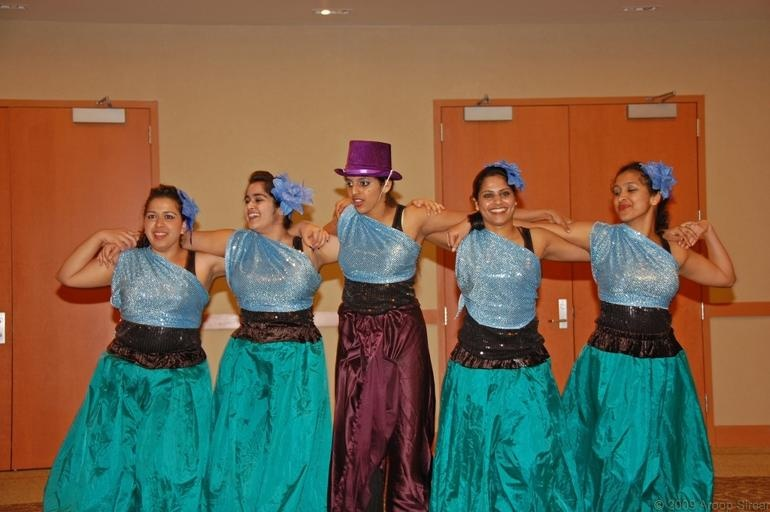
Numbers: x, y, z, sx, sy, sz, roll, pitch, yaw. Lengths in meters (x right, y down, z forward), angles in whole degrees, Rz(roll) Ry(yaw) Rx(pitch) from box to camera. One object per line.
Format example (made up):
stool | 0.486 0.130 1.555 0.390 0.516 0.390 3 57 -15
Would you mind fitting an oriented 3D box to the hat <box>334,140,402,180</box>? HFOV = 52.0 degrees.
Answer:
hat | -0.135 -0.768 6.289 0.592 0.309 0.549 1 13 -4
